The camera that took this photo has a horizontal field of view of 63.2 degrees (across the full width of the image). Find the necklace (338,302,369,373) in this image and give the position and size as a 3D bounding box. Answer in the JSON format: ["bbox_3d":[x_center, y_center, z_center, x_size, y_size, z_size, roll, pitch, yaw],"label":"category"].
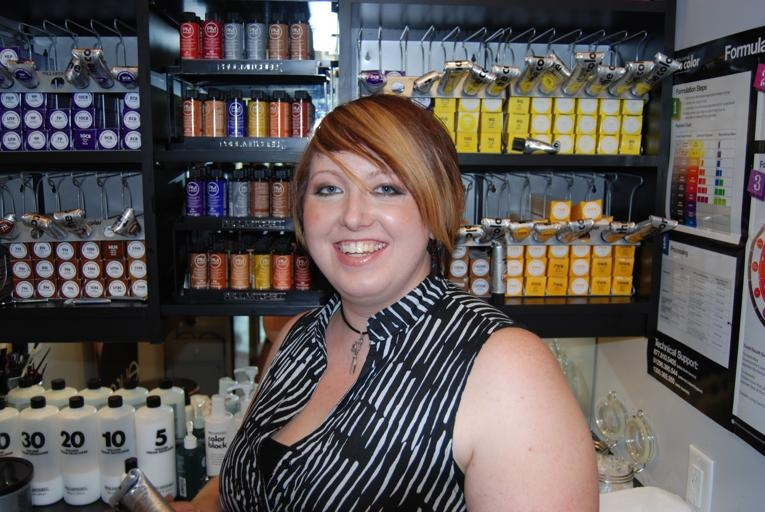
[{"bbox_3d":[-0.082,0.230,1.702,0.080,0.156,0.023,-4,-13,36],"label":"necklace"}]

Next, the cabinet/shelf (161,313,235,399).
[{"bbox_3d":[-0.940,0.399,3.252,0.256,0.494,0.355,0,37,-13],"label":"cabinet/shelf"}]
